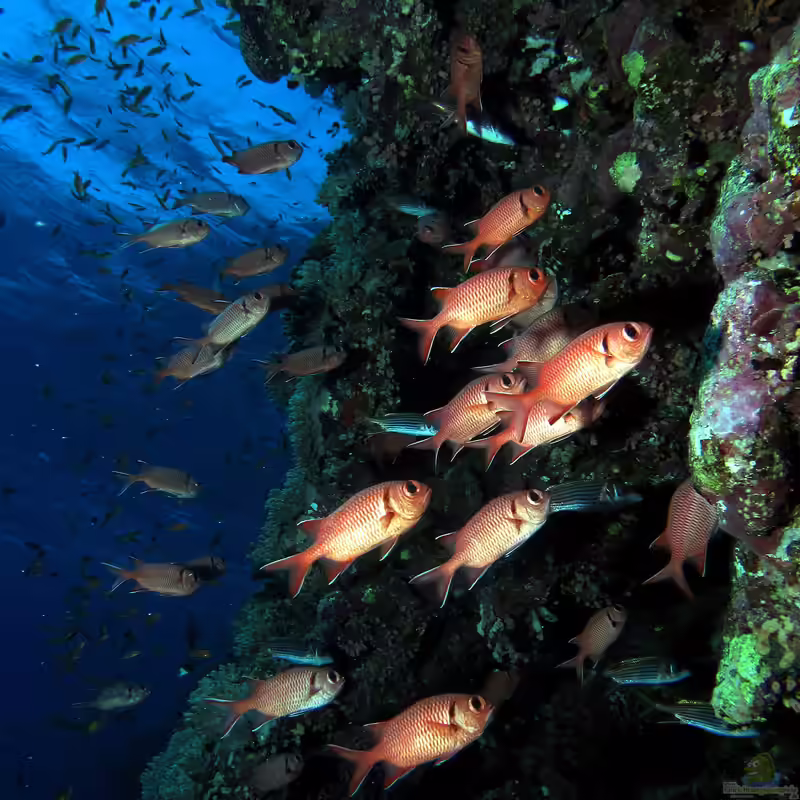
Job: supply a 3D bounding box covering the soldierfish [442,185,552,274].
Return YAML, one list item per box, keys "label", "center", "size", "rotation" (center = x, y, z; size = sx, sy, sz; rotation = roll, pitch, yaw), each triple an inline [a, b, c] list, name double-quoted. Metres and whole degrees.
- label: "soldierfish"
  center: [1.001, -1.809, 8.377]
  size: [0.725, 1.153, 0.289]
  rotation: [20, 33, -3]

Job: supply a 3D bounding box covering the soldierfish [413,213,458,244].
- label: "soldierfish"
  center: [0.435, -2.201, 10.155]
  size: [0.399, 0.351, 0.446]
  rotation: [-1, 25, -17]
